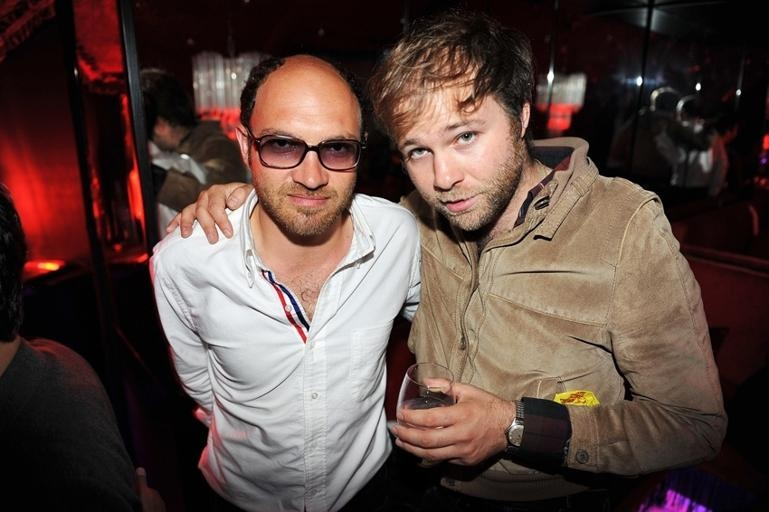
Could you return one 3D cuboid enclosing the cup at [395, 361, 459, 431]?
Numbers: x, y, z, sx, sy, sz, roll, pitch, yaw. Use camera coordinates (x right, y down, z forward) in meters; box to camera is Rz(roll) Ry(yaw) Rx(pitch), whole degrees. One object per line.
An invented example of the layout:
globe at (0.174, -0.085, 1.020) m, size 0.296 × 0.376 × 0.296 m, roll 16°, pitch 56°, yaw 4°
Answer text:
cup at (0.215, 0.691, 2.755) m, size 0.286 × 0.266 × 0.290 m, roll 6°, pitch -4°, yaw 0°
